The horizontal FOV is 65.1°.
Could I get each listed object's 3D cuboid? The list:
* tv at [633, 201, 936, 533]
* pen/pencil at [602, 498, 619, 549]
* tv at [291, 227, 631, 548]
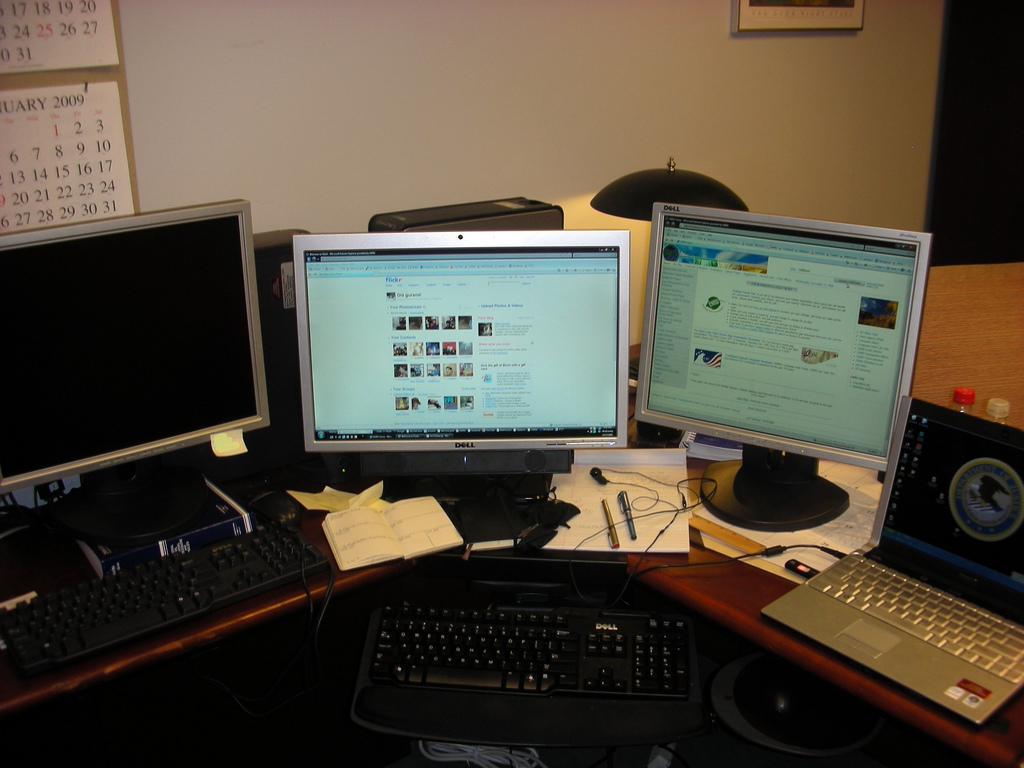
[{"bbox_3d":[0.525,-0.010,1.564,0.551,0.584,0.338,12,31,26],"label":"tv"},{"bbox_3d":[0.188,0.278,1.560,0.013,0.014,0.083,31,24,-35],"label":"pen/pencil"},{"bbox_3d":[-0.095,0.002,1.590,0.661,0.577,0.208,-1,6,-2],"label":"tv"}]
